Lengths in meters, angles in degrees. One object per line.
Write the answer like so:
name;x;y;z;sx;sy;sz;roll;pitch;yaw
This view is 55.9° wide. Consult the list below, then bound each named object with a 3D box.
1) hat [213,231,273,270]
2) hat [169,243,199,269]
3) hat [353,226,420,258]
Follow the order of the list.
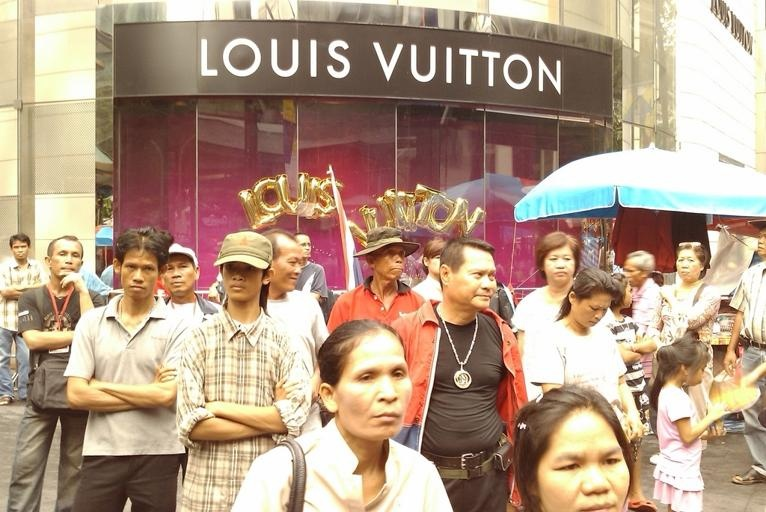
hat;-1.064;-0.059;5.571;0.426;0.291;0.565;2;-2;15
hat;-2.299;-0.009;8.308;0.277;0.159;0.422;-4;-17;6
hat;0.058;-0.184;7.917;0.628;0.327;0.617;0;-3;-7
